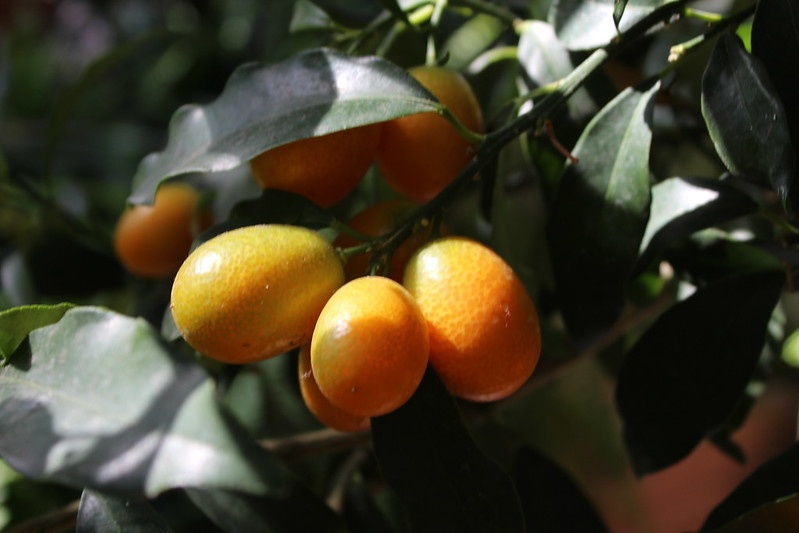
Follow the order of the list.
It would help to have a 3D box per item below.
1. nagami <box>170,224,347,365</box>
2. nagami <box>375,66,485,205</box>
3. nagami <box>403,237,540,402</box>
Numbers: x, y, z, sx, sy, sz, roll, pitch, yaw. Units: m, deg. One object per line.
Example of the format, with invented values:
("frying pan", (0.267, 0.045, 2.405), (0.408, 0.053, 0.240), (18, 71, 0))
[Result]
("nagami", (-0.138, 0.035, 0.829), (0.190, 0.157, 0.136), (-7, 9, -38))
("nagami", (0.028, -0.135, 0.844), (0.089, 0.108, 0.086), (-44, 32, -13))
("nagami", (0.057, 0.045, 0.847), (0.131, 0.176, 0.150), (8, 90, 39))
